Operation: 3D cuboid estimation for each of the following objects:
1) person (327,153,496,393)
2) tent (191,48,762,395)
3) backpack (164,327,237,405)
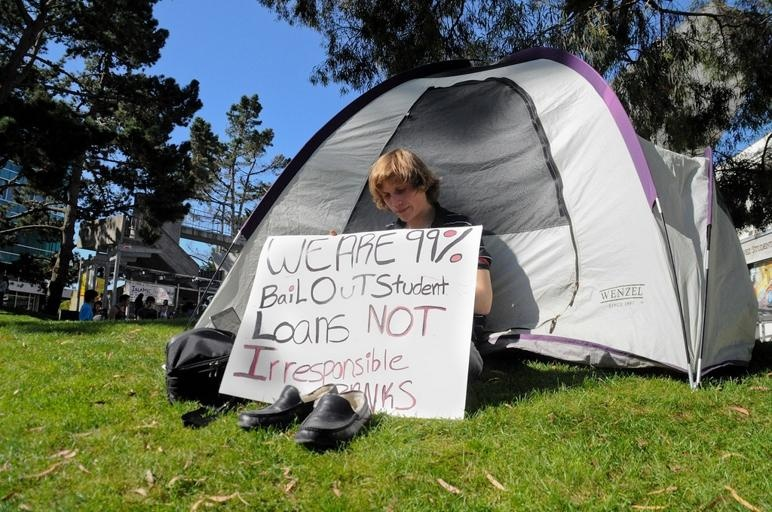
[{"bbox_3d":[0.319,-0.102,4.596,0.654,1.570,1.477,-9,17,-25],"label":"person"},{"bbox_3d":[1.108,-0.389,5.417,3.560,1.746,3.622,0,-3,19],"label":"tent"},{"bbox_3d":[-1.541,0.832,4.383,0.609,0.496,0.633,1,12,-27],"label":"backpack"}]
